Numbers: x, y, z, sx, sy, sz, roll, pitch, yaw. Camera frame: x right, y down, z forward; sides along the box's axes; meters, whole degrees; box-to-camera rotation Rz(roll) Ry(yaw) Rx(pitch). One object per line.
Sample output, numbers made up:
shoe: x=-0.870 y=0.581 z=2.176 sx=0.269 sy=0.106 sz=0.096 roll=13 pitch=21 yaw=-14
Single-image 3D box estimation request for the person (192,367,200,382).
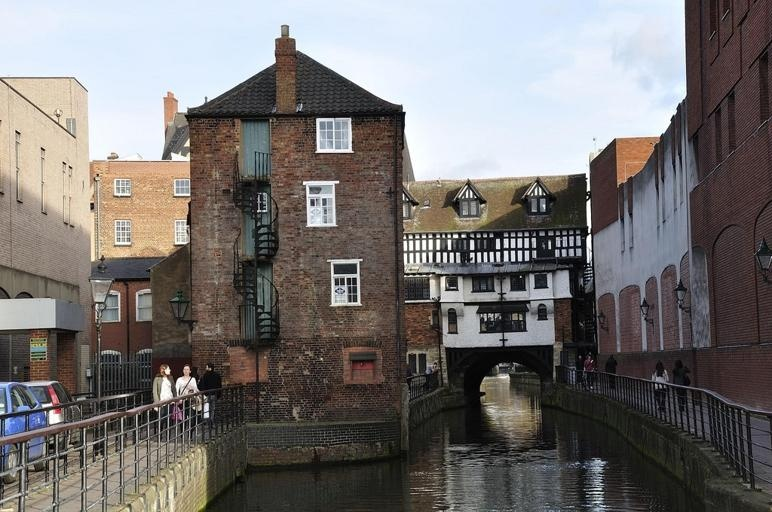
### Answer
person: x=-7.320 y=4.573 z=44.869 sx=0.360 sy=0.474 sz=0.757 roll=4 pitch=-27 yaw=-4
